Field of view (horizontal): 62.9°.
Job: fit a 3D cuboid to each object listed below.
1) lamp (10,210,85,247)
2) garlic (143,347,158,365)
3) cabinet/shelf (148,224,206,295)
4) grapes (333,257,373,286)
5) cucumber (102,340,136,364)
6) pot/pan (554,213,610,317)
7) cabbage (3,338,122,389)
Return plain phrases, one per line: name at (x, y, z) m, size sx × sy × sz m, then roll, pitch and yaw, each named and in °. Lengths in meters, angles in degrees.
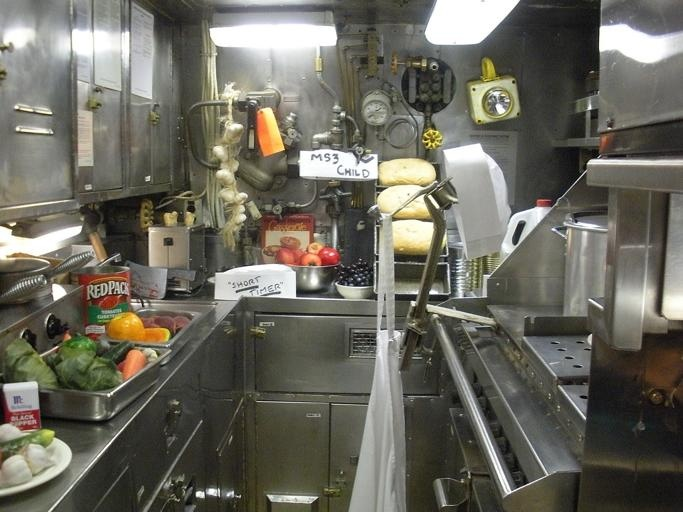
lamp at (-1.211, -0.125, 2.324) m, size 0.138 × 0.120 × 0.375 m, roll 1°, pitch 6°, yaw 6°
garlic at (-0.651, 0.333, 1.890) m, size 0.038 × 0.047 × 0.048 m, roll -18°, pitch -21°, yaw 16°
cabinet/shelf at (-0.843, -0.022, 2.904) m, size 0.251 × 0.370 × 0.257 m, roll 4°, pitch 13°, yaw -3°
grapes at (0.072, 0.086, 2.868) m, size 0.132 × 0.066 × 0.144 m, roll -2°, pitch 17°, yaw -5°
cucumber at (-0.732, 0.311, 1.831) m, size 0.048 × 0.035 × 0.104 m, roll 23°, pitch 30°, yaw 14°
pot/pan at (0.777, 0.030, 1.778) m, size 0.159 × 0.416 × 0.213 m, roll 3°, pitch 14°, yaw 6°
cabbage at (-0.831, 0.322, 1.656) m, size 0.199 × 0.085 × 0.236 m, roll 6°, pitch 10°, yaw 25°
